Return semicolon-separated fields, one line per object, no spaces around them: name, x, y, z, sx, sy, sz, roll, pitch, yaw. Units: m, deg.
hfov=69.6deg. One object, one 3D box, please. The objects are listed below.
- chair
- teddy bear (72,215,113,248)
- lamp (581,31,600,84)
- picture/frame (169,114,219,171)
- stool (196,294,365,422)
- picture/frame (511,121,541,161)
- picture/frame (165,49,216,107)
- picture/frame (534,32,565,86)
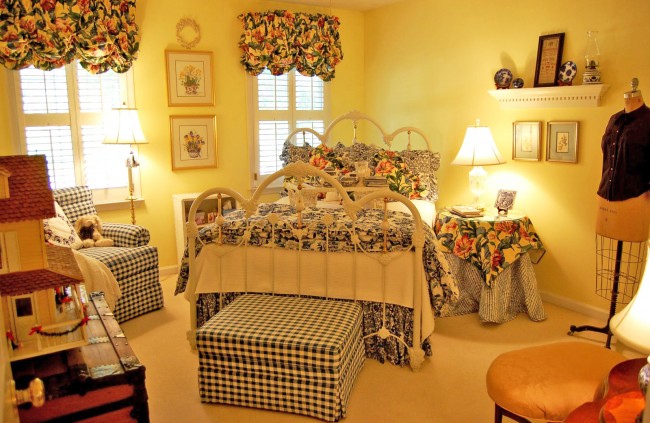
chair;-2.035;0.419;4.778;0.946;1.211;1.176;18;6;26
teddy bear;-2.298;0.193;4.650;0.347;0.331;0.279;0;9;-14
lamp;2.416;-1.384;4.207;0.152;0.470;0.268;5;12;28
picture/frame;-1.570;-0.830;5.504;0.610;0.726;0.035;-9;18;-31
stool;-0.308;1.024;3.290;1.025;0.488;0.790;3;14;19
picture/frame;2.058;-0.726;4.752;0.054;0.543;0.393;-4;6;-40
picture/frame;-1.577;-1.559;5.395;0.672;0.772;0.052;-5;13;-35
picture/frame;2.172;-1.474;4.528;0.097;0.496;0.234;-11;15;-43
